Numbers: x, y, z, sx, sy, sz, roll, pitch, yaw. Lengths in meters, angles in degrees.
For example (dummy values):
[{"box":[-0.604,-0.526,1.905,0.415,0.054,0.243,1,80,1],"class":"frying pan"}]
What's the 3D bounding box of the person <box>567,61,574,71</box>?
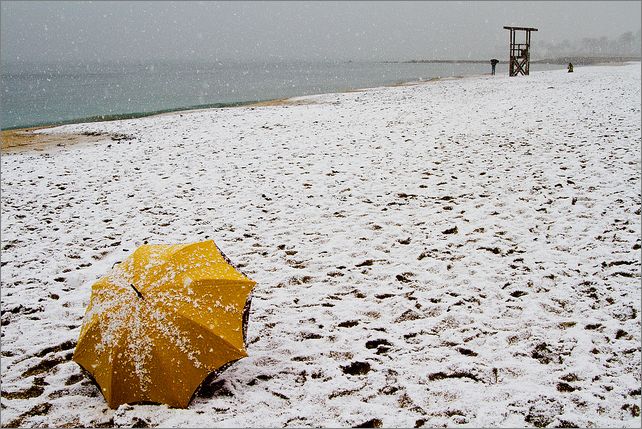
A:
[{"box":[13.373,-7.841,30.790,0.232,0.497,1.094,3,21,21],"class":"person"}]
